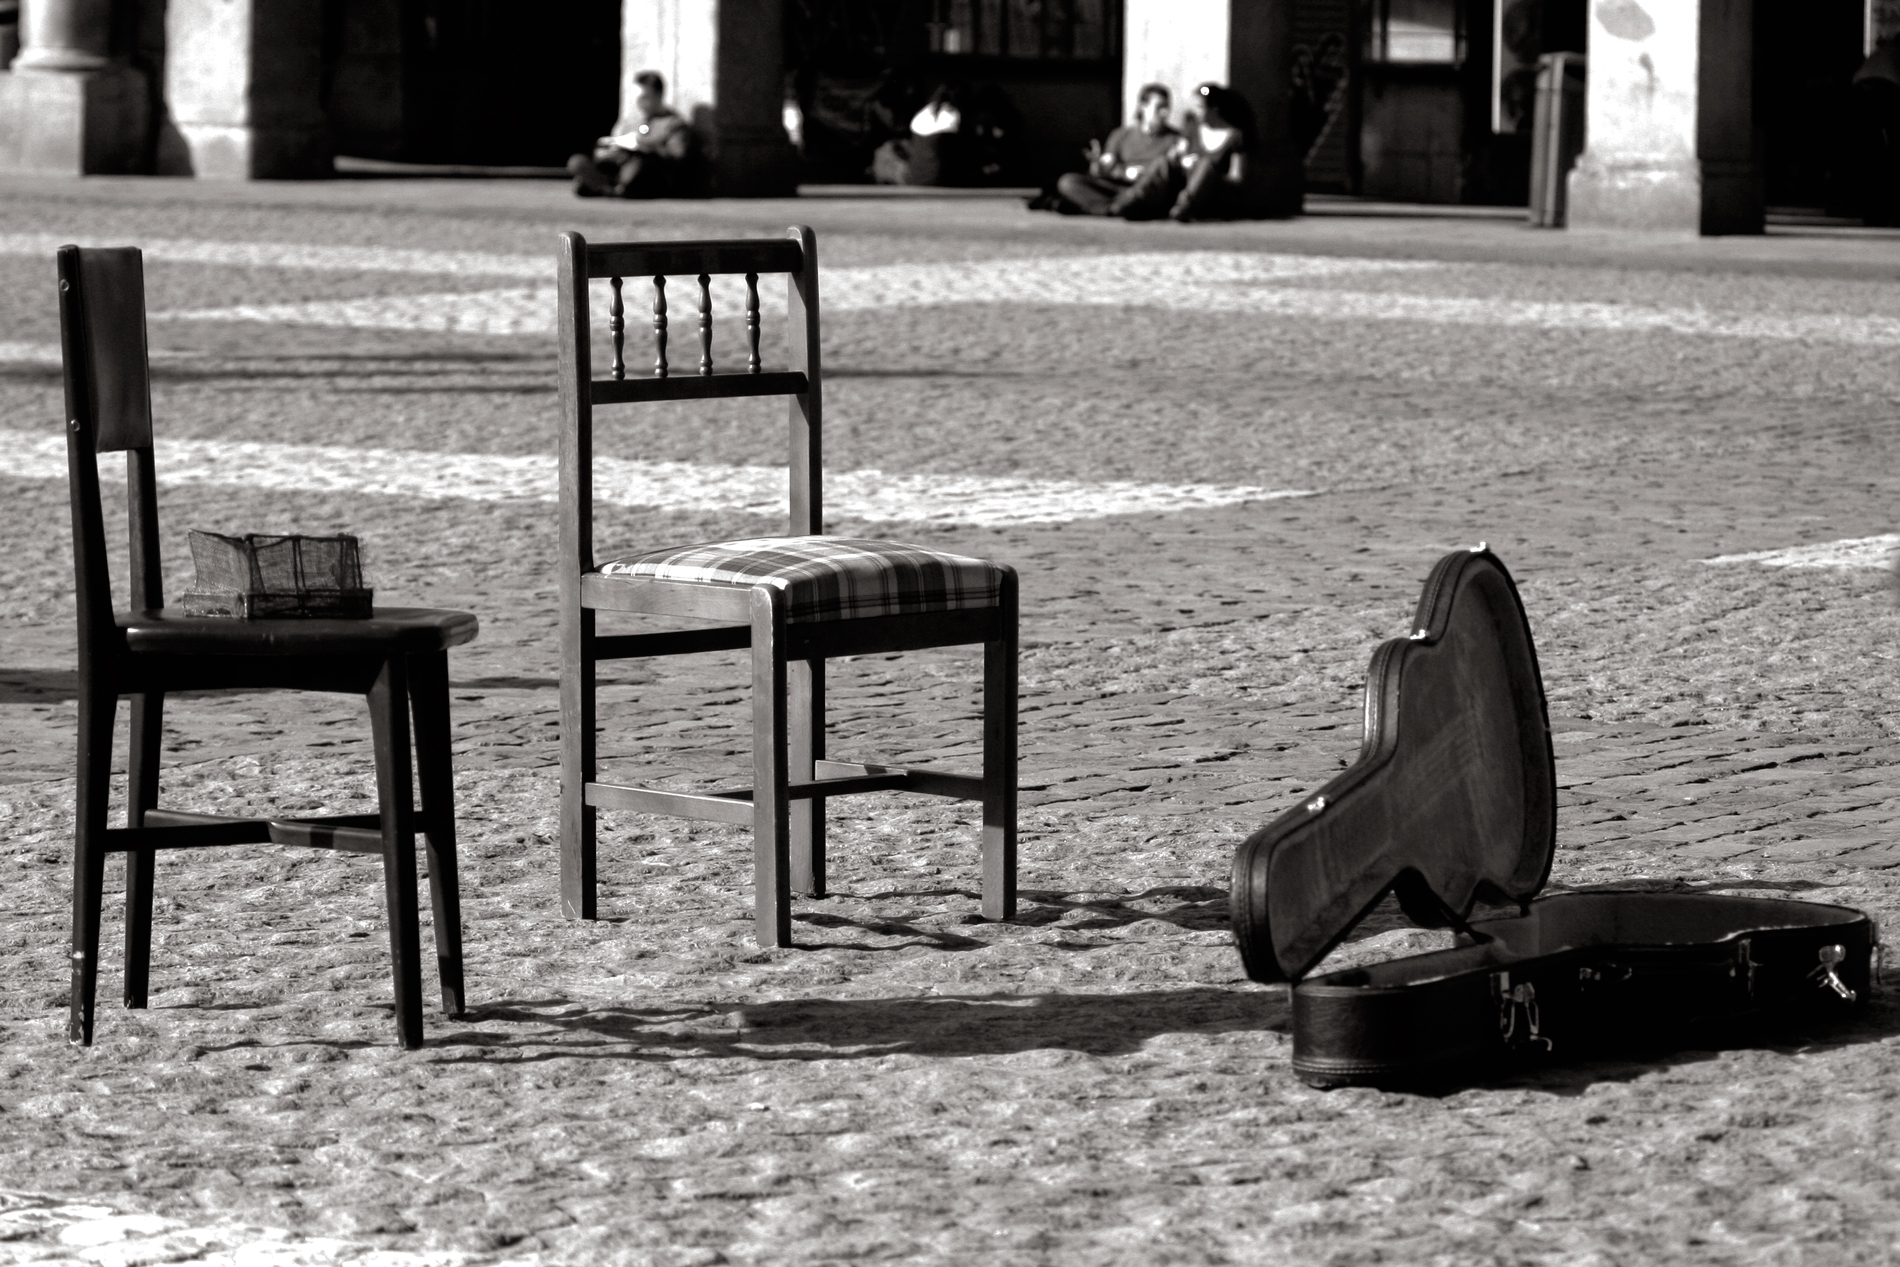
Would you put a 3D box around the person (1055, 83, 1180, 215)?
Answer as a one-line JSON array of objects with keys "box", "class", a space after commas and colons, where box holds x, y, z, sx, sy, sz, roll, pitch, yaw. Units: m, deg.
[{"box": [1.372, -3.596, 29.343, 0.889, 1.119, 1.103, 6, -3, 16], "class": "person"}]

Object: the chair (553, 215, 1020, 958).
[{"box": [-0.396, -0.155, 9.265, 1.067, 1.588, 1.152, -1, 10, -6], "class": "chair"}]

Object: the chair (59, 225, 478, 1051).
[{"box": [-1.488, 0.005, 8.513, 0.887, 1.678, 0.824, -1, 10, -9], "class": "chair"}]

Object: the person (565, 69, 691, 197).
[{"box": [-2.523, -3.983, 31.407, 0.766, 0.974, 1.405, 2, 10, 9], "class": "person"}]

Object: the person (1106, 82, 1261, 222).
[{"box": [1.719, -3.523, 28.910, 0.637, 1.050, 1.489, 5, 10, 25], "class": "person"}]
